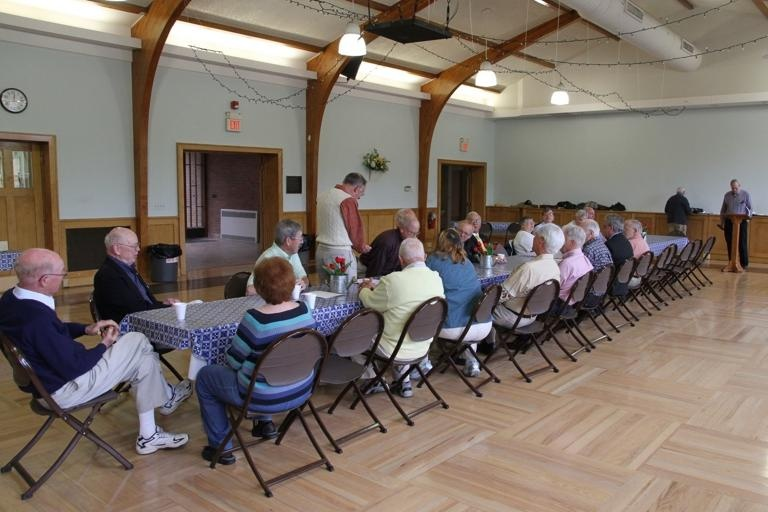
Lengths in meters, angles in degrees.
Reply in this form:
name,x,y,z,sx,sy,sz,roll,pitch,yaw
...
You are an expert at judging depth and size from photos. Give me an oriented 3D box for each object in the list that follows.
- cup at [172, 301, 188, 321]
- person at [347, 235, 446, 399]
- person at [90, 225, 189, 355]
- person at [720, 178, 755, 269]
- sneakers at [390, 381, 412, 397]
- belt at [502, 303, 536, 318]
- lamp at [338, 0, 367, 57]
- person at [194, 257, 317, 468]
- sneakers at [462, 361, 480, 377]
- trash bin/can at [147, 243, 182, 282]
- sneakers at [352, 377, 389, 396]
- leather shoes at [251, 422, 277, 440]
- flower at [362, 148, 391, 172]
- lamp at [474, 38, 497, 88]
name,x,y,z,sx,sy,sz,roll,pitch,yaw
cup,-1.530,0.418,4.007,0.098,0.153,0.147,1,-1,-22
person,0.097,0.519,4.635,0.807,1.423,0.674,11,8,28
person,-2.190,0.414,4.632,0.647,1.306,0.581,5,13,-1
person,7.246,-0.634,10.871,0.598,1.832,1.522,8,14,33
sneakers,0.164,1.192,4.769,0.223,0.108,0.091,2,3,39
belt,1.272,0.476,5.092,0.213,0.121,0.158,22,15,34
lamp,-0.415,-2.799,6.819,0.329,0.447,0.485,-1,11,-5
person,-0.935,0.753,3.623,0.824,1.513,0.377,2,12,11
sneakers,0.849,1.092,5.144,0.108,0.181,0.180,1,-8,-14
trash bin/can,-3.693,0.120,9.279,0.592,0.773,0.623,-2,-1,35
sneakers,-0.112,1.150,4.685,0.138,0.180,0.418,-1,-2,42
leather shoes,-0.927,1.346,4.090,0.106,0.101,0.230,-2,5,-37
flower,-0.157,-2.206,12.300,0.299,0.540,0.804,8,14,35
lamp,1.601,-2.979,8.319,0.297,0.609,0.303,-6,20,-11
